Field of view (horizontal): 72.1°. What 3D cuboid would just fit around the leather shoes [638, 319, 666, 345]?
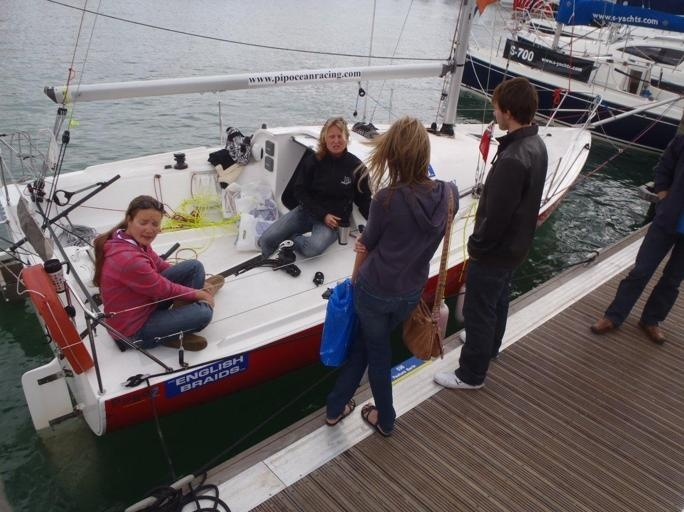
[{"bbox_3d":[2.432,0.571,3.715,0.093,0.101,0.240,-27,33,1],"label":"leather shoes"}]

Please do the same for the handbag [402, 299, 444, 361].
[{"bbox_3d":[0.479,0.433,2.823,0.175,0.319,0.340,-11,20,-21],"label":"handbag"}]

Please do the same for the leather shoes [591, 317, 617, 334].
[{"bbox_3d":[2.094,0.547,3.755,0.258,0.115,0.091,-9,21,-26],"label":"leather shoes"}]

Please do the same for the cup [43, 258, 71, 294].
[{"bbox_3d":[-1.707,0.116,2.840,0.105,0.219,0.066,-22,55,-35],"label":"cup"}]

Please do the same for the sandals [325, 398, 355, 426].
[{"bbox_3d":[-0.013,0.985,2.925,0.096,0.056,0.208,26,43,34],"label":"sandals"}]

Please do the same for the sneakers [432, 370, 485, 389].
[{"bbox_3d":[0.771,0.837,3.179,0.341,0.136,0.123,5,21,4],"label":"sneakers"}]

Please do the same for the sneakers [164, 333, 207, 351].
[{"bbox_3d":[-1.026,0.573,3.186,0.325,0.145,0.111,1,56,-16],"label":"sneakers"}]

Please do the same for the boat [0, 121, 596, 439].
[{"bbox_3d":[-0.092,0.128,4.710,5.098,1.858,2.361,-19,41,-28],"label":"boat"}]

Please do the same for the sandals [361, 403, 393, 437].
[{"bbox_3d":[0.213,1.015,2.876,0.114,0.059,0.232,-22,47,-22],"label":"sandals"}]

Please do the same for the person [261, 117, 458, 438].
[{"bbox_3d":[0.263,0.186,2.615,0.567,1.828,0.411,8,27,6],"label":"person"}]
